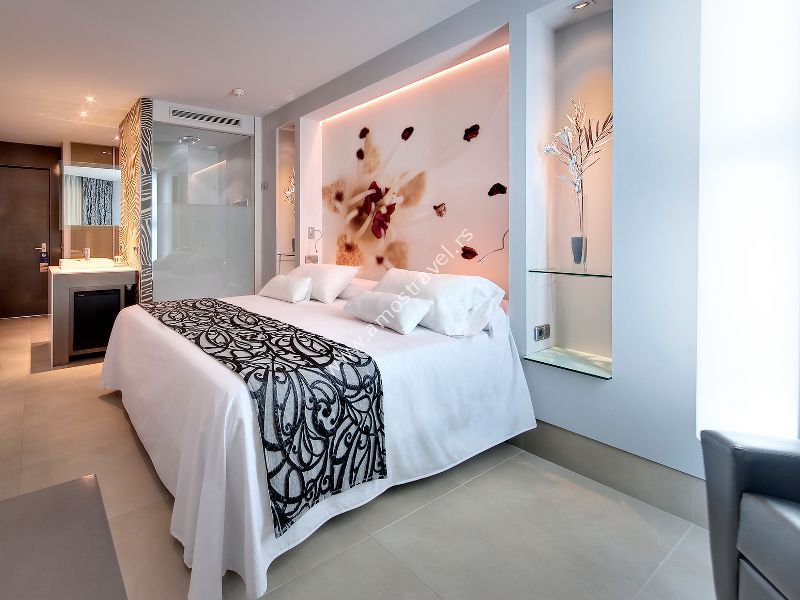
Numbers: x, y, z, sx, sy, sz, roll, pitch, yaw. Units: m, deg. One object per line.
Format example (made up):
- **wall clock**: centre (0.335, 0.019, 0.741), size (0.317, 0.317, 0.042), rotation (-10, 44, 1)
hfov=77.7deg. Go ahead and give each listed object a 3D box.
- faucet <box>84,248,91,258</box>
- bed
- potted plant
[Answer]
- **faucet**: centre (-3.762, -0.540, 6.006), size (0.074, 0.128, 0.039), rotation (-8, 15, -34)
- **bed**: centre (-0.572, 0.561, 3.515), size (2.256, 1.052, 2.241), rotation (-8, 15, -36)
- **potted plant**: centre (1.147, -0.752, 3.250), size (0.460, 1.060, 0.432), rotation (8, 14, 32)
